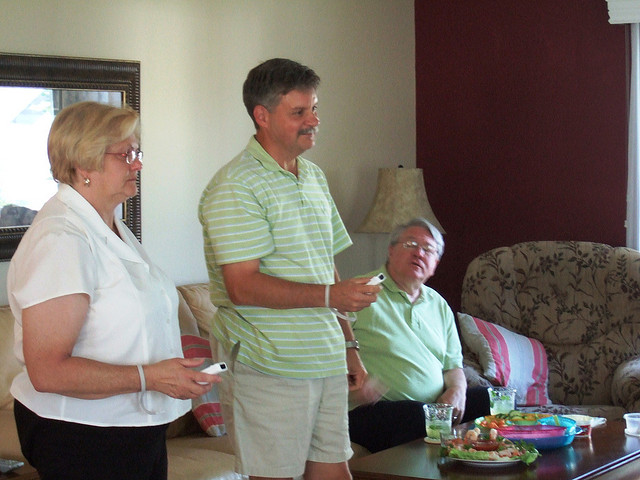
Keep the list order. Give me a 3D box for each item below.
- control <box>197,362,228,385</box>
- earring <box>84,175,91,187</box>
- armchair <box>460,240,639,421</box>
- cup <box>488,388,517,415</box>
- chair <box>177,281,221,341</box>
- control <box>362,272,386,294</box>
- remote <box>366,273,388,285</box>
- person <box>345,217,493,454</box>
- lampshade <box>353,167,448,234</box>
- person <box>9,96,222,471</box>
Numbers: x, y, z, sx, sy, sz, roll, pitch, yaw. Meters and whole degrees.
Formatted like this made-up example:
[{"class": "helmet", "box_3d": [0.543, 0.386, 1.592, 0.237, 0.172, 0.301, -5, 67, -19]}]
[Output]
[{"class": "control", "box_3d": [-0.257, 0.315, 1.414, 0.048, 0.020, 0.102, -2, 2, 22]}, {"class": "earring", "box_3d": [-0.567, -0.143, 1.435, 0.013, 0.020, 0.005, 4, 3, -7]}, {"class": "armchair", "box_3d": [1.293, 0.439, 3.539, 1.065, 1.031, 0.903, -4, -7, 11]}, {"class": "cup", "box_3d": [0.700, 0.617, 2.259, 0.096, 0.112, 0.104, 1, -9, 0]}, {"class": "chair", "box_3d": [-0.536, 0.328, 2.593, 0.111, 0.252, 0.251, -33, -27, 30]}, {"class": "control", "box_3d": [0.166, 0.112, 1.666, 0.049, 0.035, 0.077, -4, 2, -43]}, {"class": "remote", "box_3d": [0.162, 0.113, 1.660, 0.021, 0.022, 0.082, 6, -21, -24]}, {"class": "person", "box_3d": [0.466, 0.449, 2.739, 0.595, 1.114, 0.728, 16, -27, -28]}, {"class": "lampshade", "box_3d": [0.536, -0.236, 3.967, 0.639, 0.444, 0.647, 1, -2, 40]}, {"class": "person", "box_3d": [-0.511, 0.135, 1.432, 0.456, 0.967, 0.352, -3, 2, -26]}]
